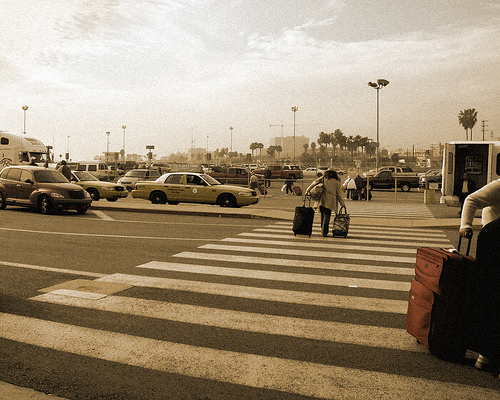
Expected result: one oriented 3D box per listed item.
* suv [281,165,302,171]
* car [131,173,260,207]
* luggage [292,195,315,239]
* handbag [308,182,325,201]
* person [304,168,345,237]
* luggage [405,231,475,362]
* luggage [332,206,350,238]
[{"bbox_3d":[5.116,-3.632,59.410,2.153,0.956,1.127,3,6,7],"label":"suv"},{"bbox_3d":[-2.538,-0.419,22.592,5.910,1.856,2.276,0,3,16],"label":"car"},{"bbox_3d":[1.475,0.503,13.355,0.564,1.172,0.568,7,6,14],"label":"luggage"},{"bbox_3d":[1.807,-0.198,13.123,0.422,0.489,0.201,1,8,1],"label":"handbag"},{"bbox_3d":[2.165,0.182,13.511,0.921,2.079,0.968,4,5,18],"label":"person"},{"bbox_3d":[2.181,1.210,5.540,0.721,1.253,0.446,5,9,32],"label":"luggage"},{"bbox_3d":[2.599,0.645,13.475,0.464,0.864,0.505,-8,-25,42],"label":"luggage"}]
